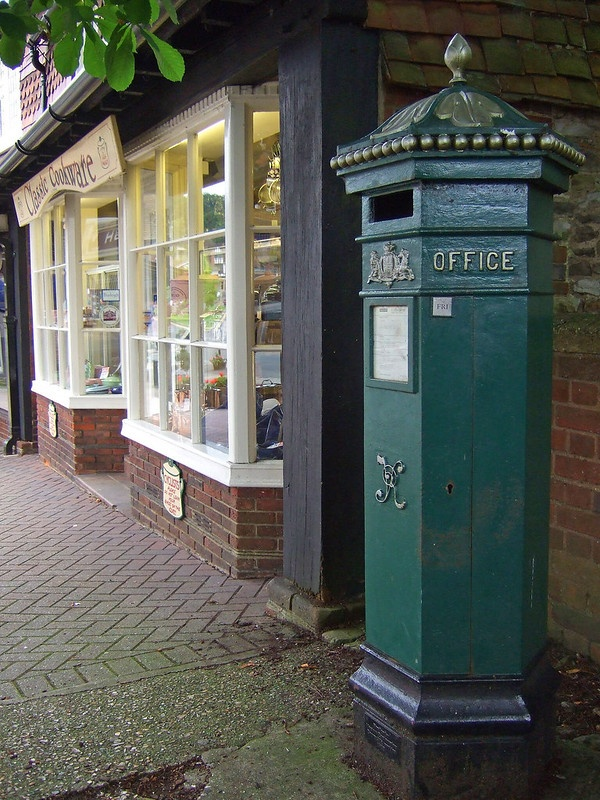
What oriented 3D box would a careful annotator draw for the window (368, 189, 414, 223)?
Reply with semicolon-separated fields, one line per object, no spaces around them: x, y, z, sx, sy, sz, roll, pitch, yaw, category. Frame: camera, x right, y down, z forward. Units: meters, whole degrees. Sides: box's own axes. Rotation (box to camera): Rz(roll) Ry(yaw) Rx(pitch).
0.312;-0.650;2.570;0.198;0.153;0.044;-7;11;-32;window

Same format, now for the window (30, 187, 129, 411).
-2.213;-1.045;7.776;0.129;2.365;2.368;-2;5;-34;window

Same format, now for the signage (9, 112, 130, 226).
-1.983;-1.999;6.654;0.034;0.372;1.896;-12;2;-34;signage
